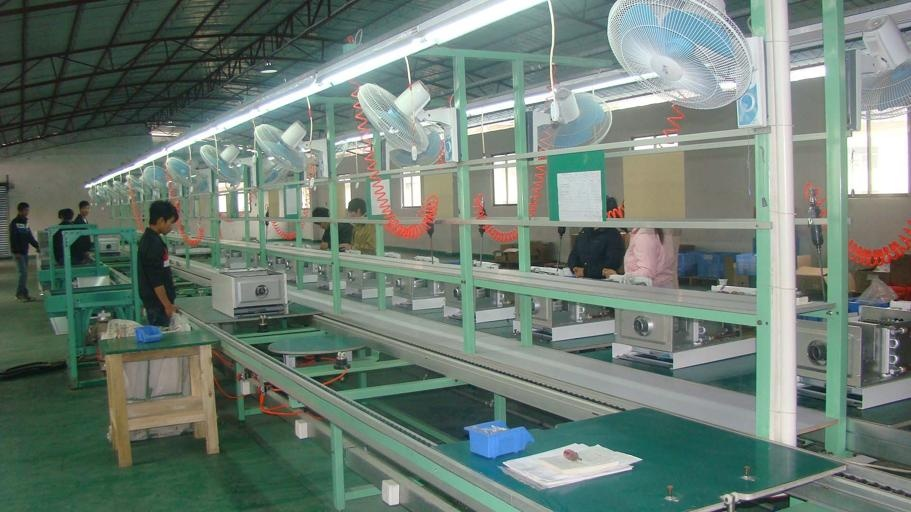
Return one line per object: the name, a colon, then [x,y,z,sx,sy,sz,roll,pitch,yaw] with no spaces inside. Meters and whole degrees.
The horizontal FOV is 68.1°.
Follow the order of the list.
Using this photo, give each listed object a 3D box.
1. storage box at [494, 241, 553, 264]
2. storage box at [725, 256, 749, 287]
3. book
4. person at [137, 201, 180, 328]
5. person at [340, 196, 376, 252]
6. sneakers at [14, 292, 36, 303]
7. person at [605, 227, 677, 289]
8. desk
storage box: [1.574,-0.075,14.171,1.105,0.494,0.661,3,-7,-3]
storage box: [4.400,0.250,10.463,0.288,0.424,0.476,-4,4,-15]
book: [0.657,1.179,3.813,0.791,0.164,0.192,-4,3,-9]
person: [-2.996,0.082,6.726,0.409,1.081,0.530,-6,3,-27]
person: [-1.305,-0.373,8.953,0.563,0.789,0.480,17,21,41]
sneakers: [-7.853,0.756,12.072,0.447,0.169,0.141,1,6,-3]
person: [1.670,0.025,5.878,0.536,0.656,0.873,10,2,14]
desk: [-2.631,1.236,5.956,0.916,1.001,0.762,-6,3,-24]
